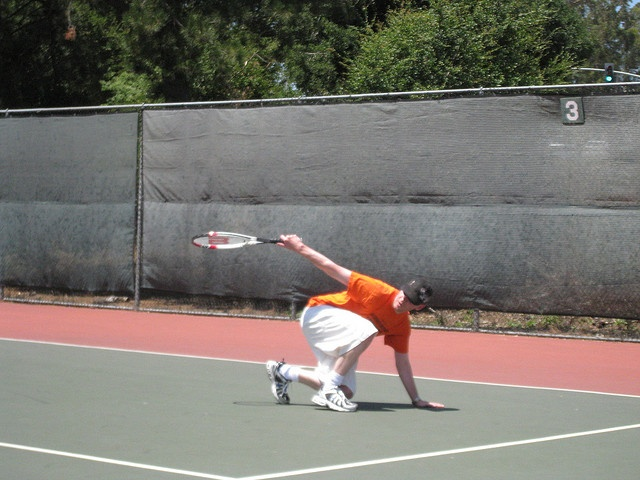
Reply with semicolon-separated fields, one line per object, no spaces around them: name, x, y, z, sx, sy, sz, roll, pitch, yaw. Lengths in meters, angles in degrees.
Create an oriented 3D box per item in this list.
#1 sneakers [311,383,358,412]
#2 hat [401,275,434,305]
sneakers;0.125;1.399;6.123;0.425;0.170;0.190;8;88;16
hat;0.850;0.467;5.935;0.243;0.170;0.225;-31;80;-4
